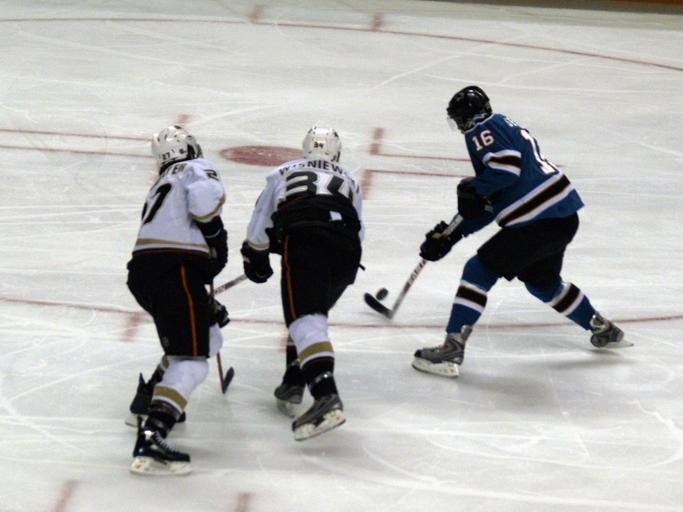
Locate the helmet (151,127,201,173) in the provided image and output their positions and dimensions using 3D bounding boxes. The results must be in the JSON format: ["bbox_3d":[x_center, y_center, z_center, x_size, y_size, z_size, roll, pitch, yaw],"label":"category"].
[{"bbox_3d":[-0.854,-0.542,4.059,0.228,0.180,0.228,-13,12,22],"label":"helmet"}]

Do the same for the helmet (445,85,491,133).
[{"bbox_3d":[0.732,-0.882,4.552,0.211,0.144,0.137,3,36,30],"label":"helmet"}]

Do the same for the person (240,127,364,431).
[{"bbox_3d":[-0.157,0.120,4.042,0.627,1.443,1.177,2,23,-15],"label":"person"}]

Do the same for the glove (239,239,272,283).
[{"bbox_3d":[-0.457,0.035,4.284,0.193,0.221,0.105,23,48,28],"label":"glove"}]

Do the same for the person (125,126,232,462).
[{"bbox_3d":[-0.780,0.169,3.858,0.501,1.487,1.188,2,23,-14],"label":"person"}]

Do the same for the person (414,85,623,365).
[{"bbox_3d":[1.060,-0.123,4.512,1.212,1.574,0.907,9,24,2],"label":"person"}]

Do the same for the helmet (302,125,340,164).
[{"bbox_3d":[-0.110,-0.585,4.308,0.243,0.180,0.234,10,12,7],"label":"helmet"}]
